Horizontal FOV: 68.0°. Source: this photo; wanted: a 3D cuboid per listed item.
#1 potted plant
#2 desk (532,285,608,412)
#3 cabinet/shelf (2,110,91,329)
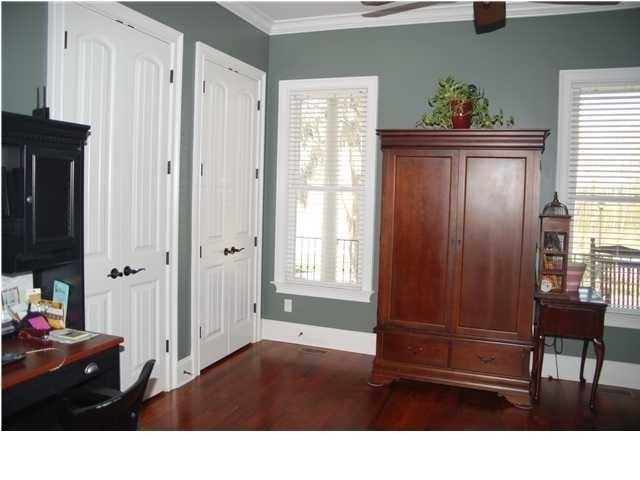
[{"bbox_3d":[1.213,-1.164,3.949,0.677,0.472,0.612,3,10,12],"label":"potted plant"},{"bbox_3d":[1.907,0.830,3.673,0.495,0.863,0.313,5,10,27],"label":"desk"},{"bbox_3d":[-1.437,-0.067,2.537,0.418,1.168,0.258,-3,9,-24],"label":"cabinet/shelf"}]
